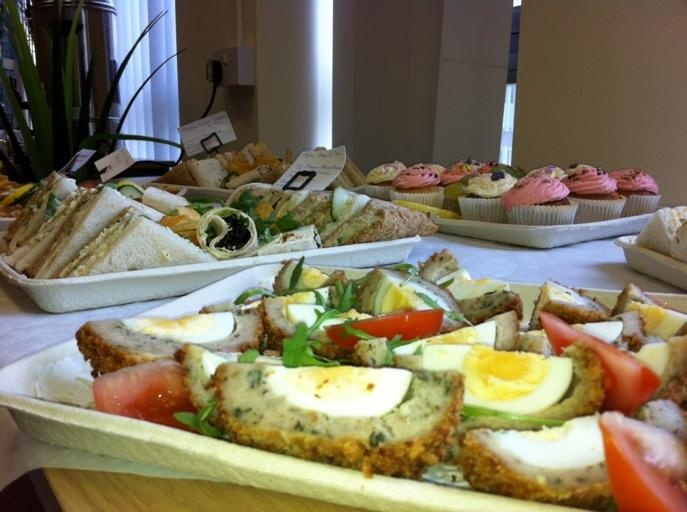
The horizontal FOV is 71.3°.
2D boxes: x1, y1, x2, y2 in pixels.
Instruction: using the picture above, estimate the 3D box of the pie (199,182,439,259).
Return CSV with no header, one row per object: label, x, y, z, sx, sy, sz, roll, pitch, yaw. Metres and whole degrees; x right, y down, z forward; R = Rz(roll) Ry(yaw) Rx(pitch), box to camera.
pie,-0.091,-0.131,1.687,0.892,0.249,0.899,-1,-2,-10
